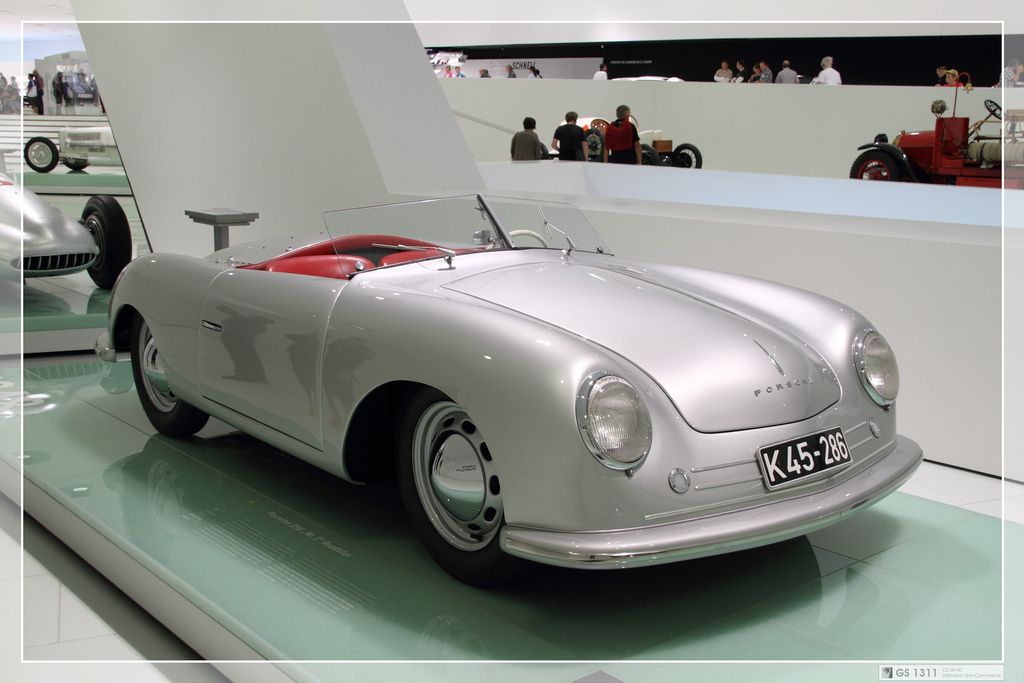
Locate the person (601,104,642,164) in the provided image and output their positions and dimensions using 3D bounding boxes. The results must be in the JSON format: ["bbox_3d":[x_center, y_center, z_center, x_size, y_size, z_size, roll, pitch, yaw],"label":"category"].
[{"bbox_3d":[1.387,-2.596,7.587,0.431,0.737,0.820,3,14,9],"label":"person"}]

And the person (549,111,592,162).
[{"bbox_3d":[0.757,-2.664,7.861,0.391,0.651,1.008,1,14,1],"label":"person"}]

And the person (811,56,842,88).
[{"bbox_3d":[4.267,-3.677,8.216,0.324,0.367,1.021,8,15,24],"label":"person"}]

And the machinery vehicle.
[{"bbox_3d":[4.196,-2.026,6.198,1.059,0.845,2.605,8,15,25],"label":"machinery vehicle"}]
